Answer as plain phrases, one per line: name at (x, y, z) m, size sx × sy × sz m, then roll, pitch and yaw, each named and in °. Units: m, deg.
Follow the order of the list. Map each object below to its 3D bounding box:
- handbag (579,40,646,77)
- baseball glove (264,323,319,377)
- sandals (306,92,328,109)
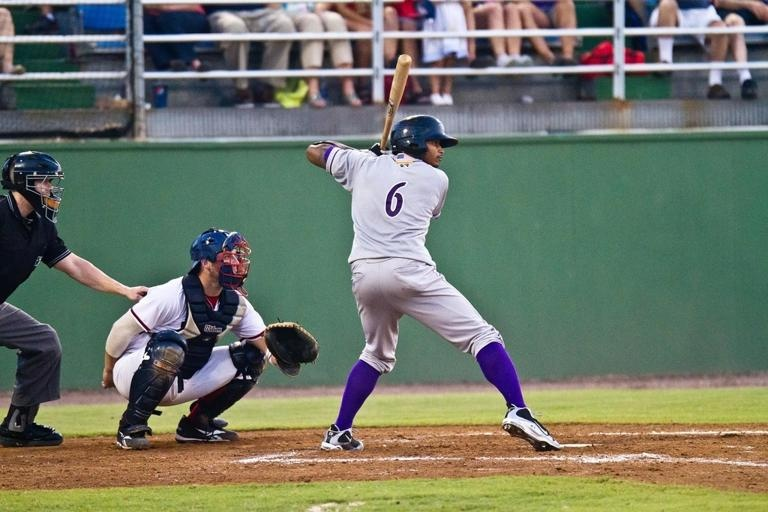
handbag at (2.775, -2.370, 18.490) m, size 0.874 × 0.291 × 0.358 m, roll -7°, pitch -38°, yaw -1°
baseball glove at (-0.912, 0.884, 15.294) m, size 0.429 × 0.555 × 0.181 m, roll -39°, pitch 23°, yaw 4°
sandals at (-0.785, -1.839, 18.389) m, size 0.158 × 0.097 × 0.211 m, roll -5°, pitch 17°, yaw -31°
